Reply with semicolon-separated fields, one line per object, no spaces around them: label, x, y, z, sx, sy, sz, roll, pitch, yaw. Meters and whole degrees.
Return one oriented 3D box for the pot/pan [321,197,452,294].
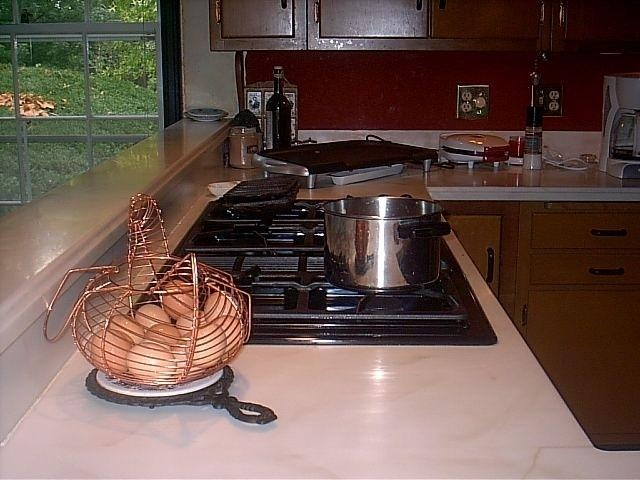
pot/pan;0.114;0.000;0.944;0.211;0.137;0.214;0;16;0

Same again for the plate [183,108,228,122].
plate;-0.579;-0.647;2.616;0.208;0.068;0.234;-2;15;-9

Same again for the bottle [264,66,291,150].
bottle;-0.183;-0.583;2.246;0.106;0.347;0.112;0;17;0
